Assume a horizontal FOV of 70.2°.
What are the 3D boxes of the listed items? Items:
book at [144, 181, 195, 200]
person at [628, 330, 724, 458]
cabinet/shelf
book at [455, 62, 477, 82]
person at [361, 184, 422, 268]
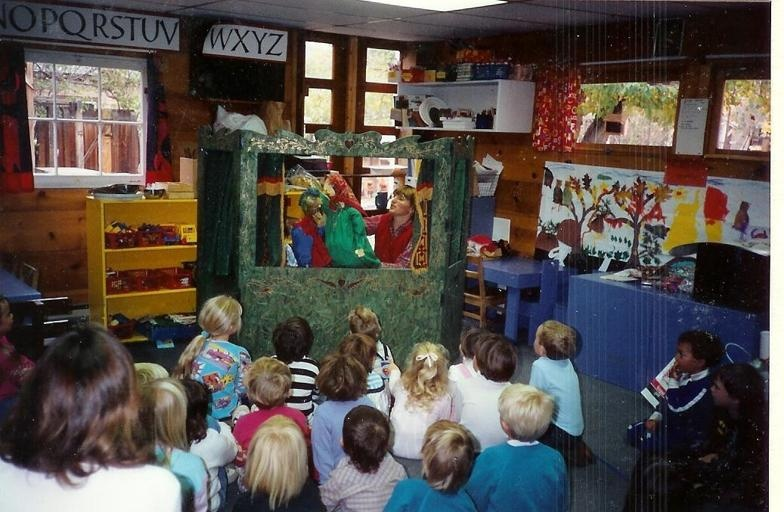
[{"bbox_3d":[-2.334,-0.682,5.837,0.498,0.157,0.184,-1,10,-24],"label":"book"},{"bbox_3d":[1.857,0.887,3.654,0.591,0.790,0.530,-2,3,37],"label":"person"},{"bbox_3d":[-2.535,0.123,5.573,0.503,1.559,1.552,4,4,43],"label":"cabinet/shelf"},{"bbox_3d":[0.837,-2.073,6.366,0.240,0.234,0.194,8,13,38],"label":"book"},{"bbox_3d":[0.006,-0.234,4.850,0.393,0.706,0.606,2,13,-41],"label":"person"}]
